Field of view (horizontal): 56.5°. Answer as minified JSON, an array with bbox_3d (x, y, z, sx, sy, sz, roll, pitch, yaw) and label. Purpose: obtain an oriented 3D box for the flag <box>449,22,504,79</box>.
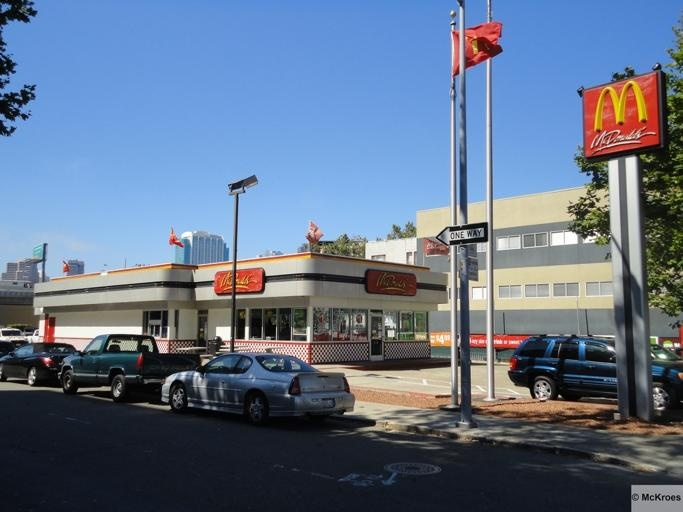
[{"bbox_3d":[4.146,-6.402,19.432,1.638,1.914,0.658,2,-7,-26],"label":"flag"}]
